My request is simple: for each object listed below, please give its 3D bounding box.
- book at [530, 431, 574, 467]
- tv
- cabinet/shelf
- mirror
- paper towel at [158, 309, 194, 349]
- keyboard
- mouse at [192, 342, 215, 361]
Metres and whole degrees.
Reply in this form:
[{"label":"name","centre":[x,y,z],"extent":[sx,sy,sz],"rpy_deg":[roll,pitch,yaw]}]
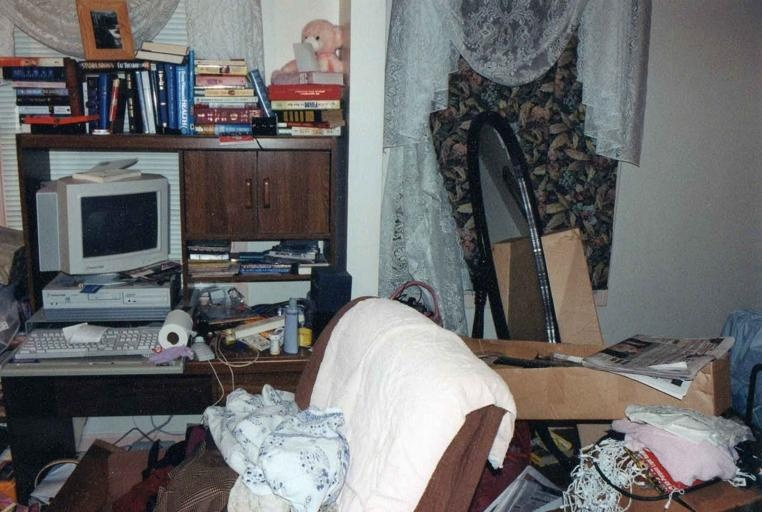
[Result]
[{"label":"book","centre":[0.929,1.046,3.505],"extent":[0.202,0.053,0.184],"rpy_deg":[-13,32,-22]},{"label":"tv","centre":[-1.488,-0.187,3.521],"extent":[0.877,0.635,0.502],"rpy_deg":[-7,14,-42]},{"label":"cabinet/shelf","centre":[-0.651,-0.391,3.814],"extent":[0.954,0.559,0.533],"rpy_deg":[1,5,9]},{"label":"mirror","centre":[0.767,-0.183,3.728],"extent":[0.493,1.321,0.331],"rpy_deg":[-2,10,8]},{"label":"paper towel","centre":[-1.113,0.389,3.409],"extent":[0.224,0.240,0.182],"rpy_deg":[4,-7,-36]},{"label":"keyboard","centre":[-1.558,0.393,3.301],"extent":[0.705,0.284,0.068],"rpy_deg":[-2,24,-5]},{"label":"mouse","centre":[-0.941,0.490,3.343],"extent":[0.068,0.026,0.131],"rpy_deg":[-4,19,-24]}]
